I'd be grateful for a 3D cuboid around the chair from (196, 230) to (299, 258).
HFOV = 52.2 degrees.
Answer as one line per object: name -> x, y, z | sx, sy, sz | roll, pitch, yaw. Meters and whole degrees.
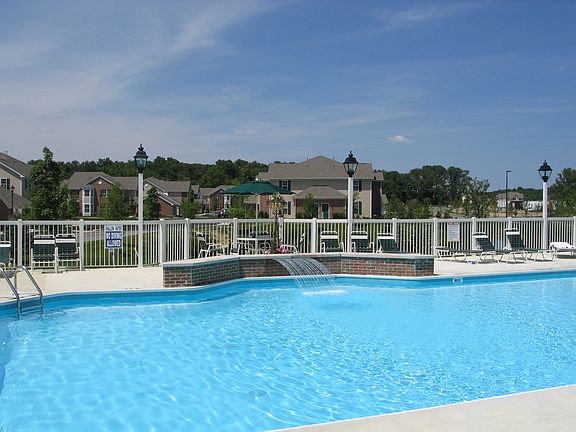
chair -> -1.732, 1.081, 23.392 | 3.714, 0.823, 1.701 | -2, -1, -13
